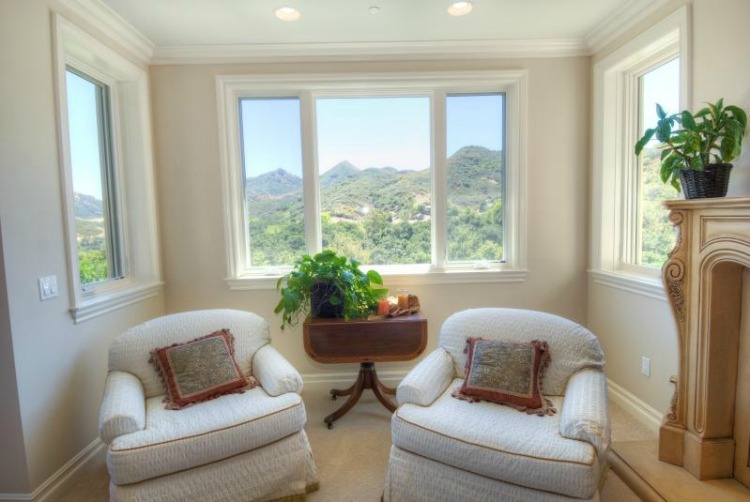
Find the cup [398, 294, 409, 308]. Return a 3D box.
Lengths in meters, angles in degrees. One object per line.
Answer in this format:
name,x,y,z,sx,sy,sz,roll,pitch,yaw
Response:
cup,0.234,0.409,4.482,0.101,0.118,0.103,2,6,0

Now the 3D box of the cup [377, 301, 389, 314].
cup,0.066,0.450,4.361,0.096,0.111,0.098,1,0,0

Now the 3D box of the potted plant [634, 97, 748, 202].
potted plant,2.121,-0.690,3.676,0.693,0.657,0.581,-6,8,-14

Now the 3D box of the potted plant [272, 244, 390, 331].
potted plant,-0.381,0.292,4.352,0.743,0.471,0.755,7,9,43

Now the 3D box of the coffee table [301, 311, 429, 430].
coffee table,-0.070,0.807,4.631,1.147,1.018,0.825,0,3,1
